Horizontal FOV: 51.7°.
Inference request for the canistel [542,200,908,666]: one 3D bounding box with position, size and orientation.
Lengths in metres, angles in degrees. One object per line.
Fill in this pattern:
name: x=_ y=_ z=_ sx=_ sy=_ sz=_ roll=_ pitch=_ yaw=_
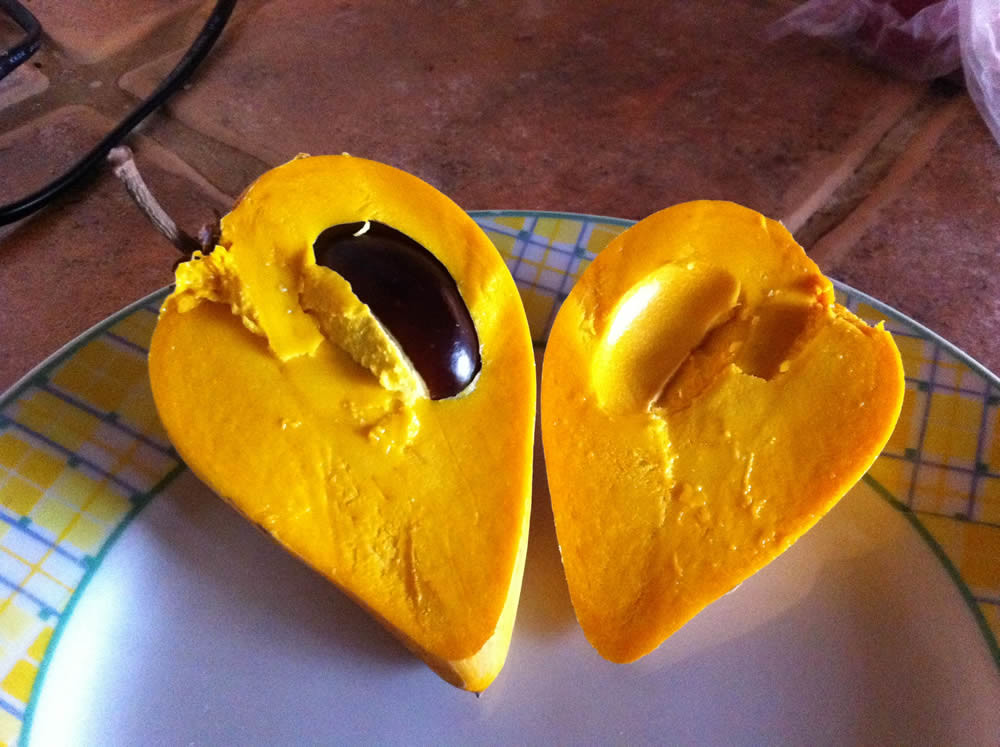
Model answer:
canistel: x=0.164 y=0.024 z=0.909 sx=0.353 sy=0.115 sz=0.293 roll=-32 pitch=67 yaw=-12
